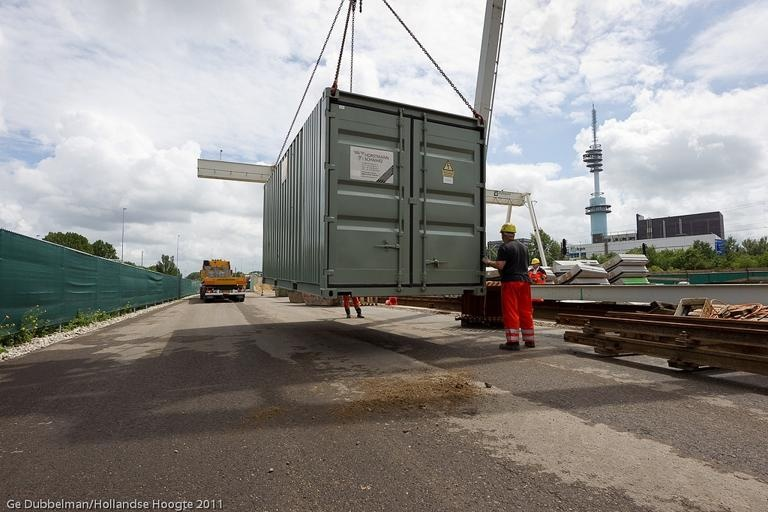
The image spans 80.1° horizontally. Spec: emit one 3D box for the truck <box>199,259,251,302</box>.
[{"bbox_3d":[-10.413,1.743,29.643,3.001,2.734,5.610,2,1,-27],"label":"truck"}]

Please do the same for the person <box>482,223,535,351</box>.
[{"bbox_3d":[2.549,0.613,8.931,0.794,2.479,1.016,1,7,20],"label":"person"}]
